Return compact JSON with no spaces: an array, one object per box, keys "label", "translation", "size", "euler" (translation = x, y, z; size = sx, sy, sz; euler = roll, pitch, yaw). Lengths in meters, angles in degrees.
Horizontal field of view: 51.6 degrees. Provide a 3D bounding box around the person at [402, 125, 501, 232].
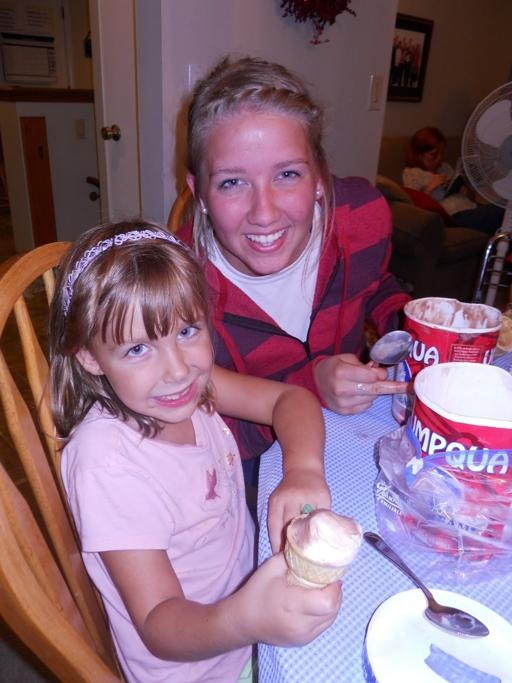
[{"label":"person","translation":[1.814,-1.423,4.649],"size":[0.577,0.900,1.139],"euler":[-18,20,-30]}]
